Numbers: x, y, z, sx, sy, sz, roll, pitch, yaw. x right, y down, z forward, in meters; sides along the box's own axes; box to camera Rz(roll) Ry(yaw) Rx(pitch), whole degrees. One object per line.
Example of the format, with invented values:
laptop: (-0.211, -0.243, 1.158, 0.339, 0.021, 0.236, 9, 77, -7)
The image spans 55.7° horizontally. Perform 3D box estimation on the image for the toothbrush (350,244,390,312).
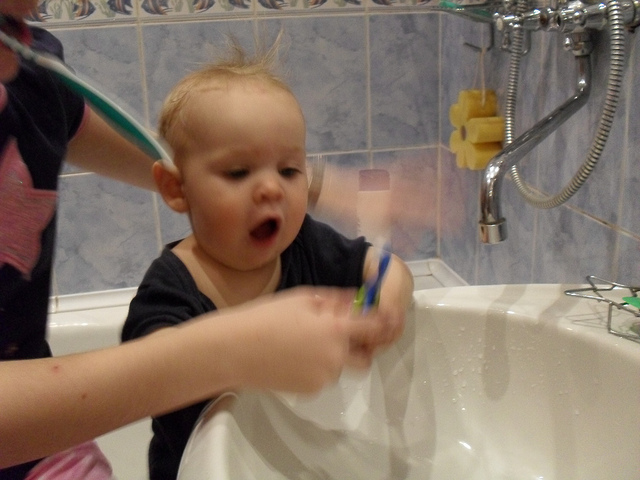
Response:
toothbrush: (0.050, 0.052, 0.615, 0.023, 0.026, 0.098, 3, 48, 24)

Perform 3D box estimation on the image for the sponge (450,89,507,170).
sponge: (0.283, -0.205, 1.126, 0.040, 0.149, 0.139, -6, 21, -9)

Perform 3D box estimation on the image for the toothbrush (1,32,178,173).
toothbrush: (-0.181, -0.107, 0.532, 0.077, 0.136, 0.203, 9, 19, 23)
